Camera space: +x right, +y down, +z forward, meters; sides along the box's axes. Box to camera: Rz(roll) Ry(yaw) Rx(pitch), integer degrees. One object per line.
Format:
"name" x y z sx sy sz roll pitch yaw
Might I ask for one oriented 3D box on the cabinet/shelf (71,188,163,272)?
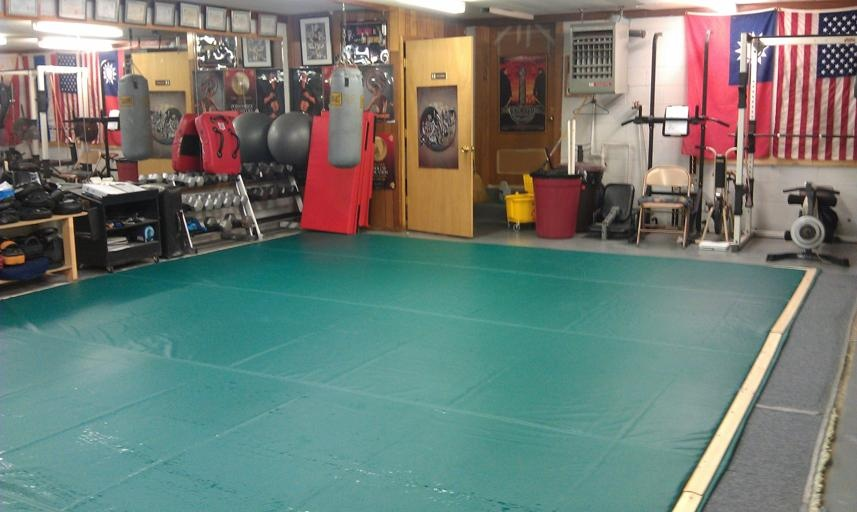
"cabinet/shelf" -4.702 -0.438 8.601 0.682 1.150 1.149 12 20 39

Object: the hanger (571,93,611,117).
"hanger" 3.259 -3.019 11.327 0.435 0.443 0.062 9 19 26

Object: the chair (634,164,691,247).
"chair" 4.304 -1.000 10.225 1.192 1.935 1.530 2 6 27

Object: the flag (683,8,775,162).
"flag" 5.437 -3.077 10.289 0.206 2.548 1.713 -22 22 -33

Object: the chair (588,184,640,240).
"chair" 3.437 -0.833 10.426 0.764 0.973 1.146 2 8 26
